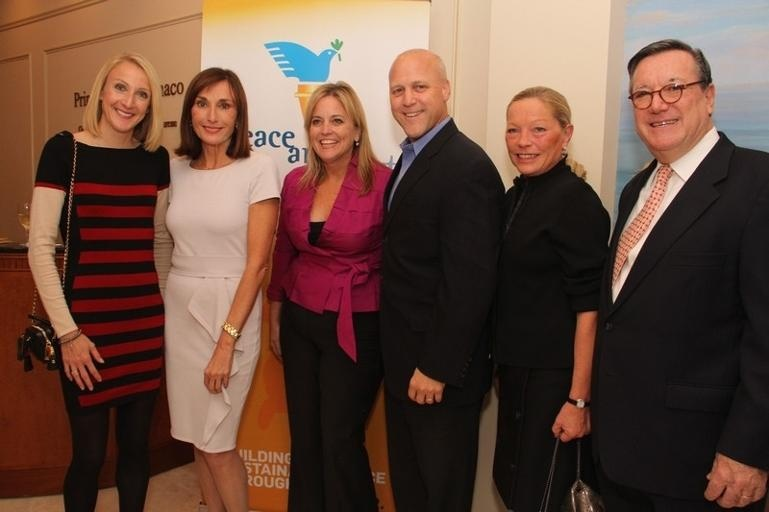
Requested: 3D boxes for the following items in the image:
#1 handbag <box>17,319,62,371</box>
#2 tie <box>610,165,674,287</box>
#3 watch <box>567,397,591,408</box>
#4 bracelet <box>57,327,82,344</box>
[{"bbox_3d":[-1.871,0.483,3.187,0.240,0.312,0.154,6,14,32],"label":"handbag"},{"bbox_3d":[1.200,-0.119,2.729,0.078,0.736,0.101,30,-9,-34],"label":"tie"},{"bbox_3d":[0.947,0.708,2.853,0.060,0.028,0.066,1,0,1],"label":"watch"},{"bbox_3d":[-1.683,0.434,3.160,0.114,0.078,0.045,-5,12,-11],"label":"bracelet"}]
